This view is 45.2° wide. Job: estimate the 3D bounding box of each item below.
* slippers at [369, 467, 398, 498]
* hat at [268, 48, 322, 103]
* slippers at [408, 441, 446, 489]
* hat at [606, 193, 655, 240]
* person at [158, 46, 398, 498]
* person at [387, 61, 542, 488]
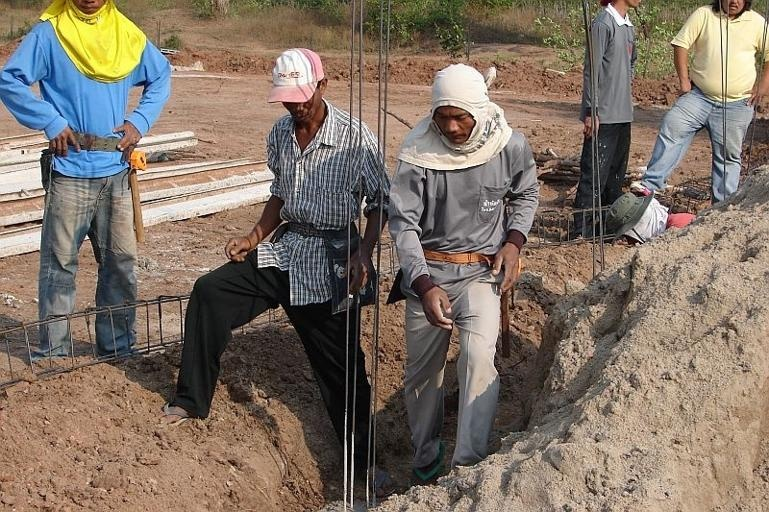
[{"bbox_3d":[0.006,1.579,6.401,0.227,0.247,0.083,10,-15,-29],"label":"slippers"},{"bbox_3d":[-0.566,-1.161,5.975,0.255,0.226,0.425,1,34,13],"label":"hat"},{"bbox_3d":[0.289,1.465,6.365,0.200,0.245,0.303,2,32,5],"label":"slippers"},{"bbox_3d":[2.201,-0.366,8.294,0.386,0.420,0.222,7,20,15],"label":"hat"},{"bbox_3d":[-0.602,0.144,6.215,1.356,2.925,0.844,1,19,0],"label":"person"},{"bbox_3d":[0.481,0.224,6.016,0.926,2.852,0.917,2,19,2],"label":"person"}]
